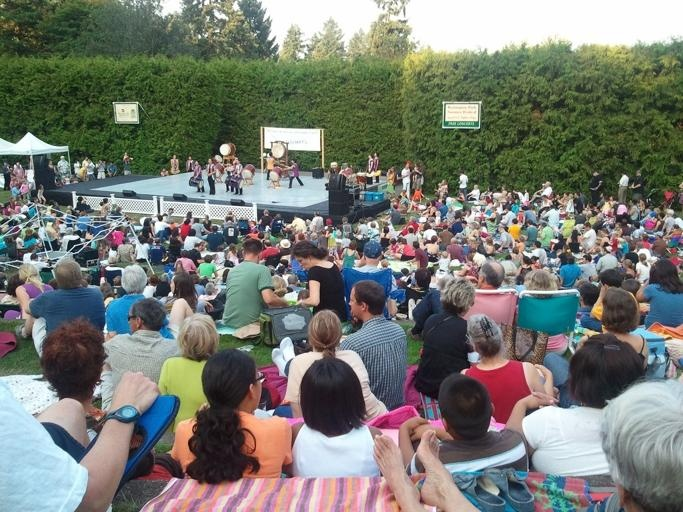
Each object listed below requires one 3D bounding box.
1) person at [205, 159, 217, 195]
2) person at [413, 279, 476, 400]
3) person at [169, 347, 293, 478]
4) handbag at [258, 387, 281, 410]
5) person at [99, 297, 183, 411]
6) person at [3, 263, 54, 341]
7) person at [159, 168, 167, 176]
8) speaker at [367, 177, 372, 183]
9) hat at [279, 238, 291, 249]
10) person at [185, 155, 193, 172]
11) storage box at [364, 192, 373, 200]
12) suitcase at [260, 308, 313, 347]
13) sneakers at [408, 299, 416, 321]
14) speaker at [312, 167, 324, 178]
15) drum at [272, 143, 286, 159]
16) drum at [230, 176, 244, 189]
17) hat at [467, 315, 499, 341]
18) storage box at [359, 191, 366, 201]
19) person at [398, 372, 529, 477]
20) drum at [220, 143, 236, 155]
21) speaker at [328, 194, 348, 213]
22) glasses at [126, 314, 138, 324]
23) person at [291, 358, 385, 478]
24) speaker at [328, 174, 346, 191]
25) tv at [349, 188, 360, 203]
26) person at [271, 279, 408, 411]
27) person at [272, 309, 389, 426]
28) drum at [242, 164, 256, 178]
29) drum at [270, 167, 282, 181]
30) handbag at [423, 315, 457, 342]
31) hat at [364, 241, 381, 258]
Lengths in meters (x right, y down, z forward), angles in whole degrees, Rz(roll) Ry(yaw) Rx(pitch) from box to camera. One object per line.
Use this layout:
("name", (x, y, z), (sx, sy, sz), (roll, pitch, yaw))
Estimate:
("person", (-5.785, -3.462, 27.221), (0.357, 1.409, 1.652), (-2, 9, -12))
("person", (1.228, 0.816, 6.783), (0.590, 1.478, 0.913), (13, 32, 19))
("person", (-0.782, 1.164, 4.663), (0.824, 1.095, 1.333), (-1, 18, -4))
("handbag", (-0.753, 1.450, 6.286), (0.171, 0.245, 0.245), (14, 0, -13))
("person", (-2.091, 0.904, 6.898), (0.877, 1.084, 1.362), (-2, 16, -13))
("person", (-4.649, 0.694, 9.062), (0.549, 1.399, 1.160), (-6, 22, -25))
("person", (-9.666, -4.541, 33.253), (0.394, 0.401, 1.174), (-2, 9, -16))
("speaker", (1.358, -3.614, 29.464), (0.285, 0.361, 0.304), (1, 5, 3))
("hat", (-1.536, -0.321, 16.168), (0.240, 0.258, 0.070), (-8, -11, -40))
("person", (-8.366, -5.070, 33.740), (0.394, 0.871, 0.978), (-3, 9, -18))
("storage box", (1.073, -2.427, 24.865), (0.307, 0.219, 0.329), (0, 8, 6))
("suitcase", (-0.717, 0.936, 8.498), (0.685, 0.533, 0.561), (-1, -1, -19))
("sneakers", (1.116, 0.820, 9.881), (0.105, 0.393, 0.148), (4, 9, 0))
("speaker", (-1.290, -4.610, 34.009), (0.536, 0.624, 0.535), (-3, 7, -34))
("drum", (-3.179, -5.339, 30.930), (0.635, 0.768, 0.800), (-4, 10, -27))
("drum", (-4.522, -3.141, 26.039), (0.395, 0.482, 0.303), (1, 9, 7))
("hat", (1.302, 0.635, 5.644), (0.173, 0.243, 0.238), (-9, 27, -10))
("storage box", (0.854, -2.400, 24.792), (0.282, 0.321, 0.302), (0, 6, 7))
("person", (0.848, 1.233, 4.227), (0.611, 0.577, 0.845), (-5, 26, -6))
("drum", (-6.338, -5.814, 33.887), (0.541, 0.699, 1.337), (0, 9, 1))
("speaker", (-0.119, -1.871, 22.106), (0.614, 1.006, 0.653), (-1, 4, -3))
("glasses", (-2.254, 0.677, 6.604), (0.115, 0.036, 0.114), (-1, 19, -45))
("person", (-0.047, 1.152, 4.404), (0.626, 0.769, 0.356), (0, 8, -3))
("speaker", (-0.155, -2.567, 21.554), (0.534, 0.570, 0.552), (0, -1, -15))
("tv", (0.507, -2.398, 23.851), (0.431, 0.548, 0.776), (2, 11, 10))
("person", (0.122, 0.758, 6.490), (0.827, 1.453, 1.352), (-18, 31, -31))
("person", (-0.208, 1.045, 6.157), (0.865, 1.083, 1.828), (-7, 3, -11))
("drum", (-4.428, -3.956, 29.263), (0.611, 0.507, 0.661), (-1, -33, -1))
("drum", (-3.212, -3.772, 28.663), (0.616, 0.686, 0.479), (2, 19, 24))
("handbag", (1.024, 0.742, 6.603), (0.302, 0.228, 0.132), (-41, -21, -3))
("hat", (0.495, -0.159, 9.810), (0.193, 0.163, 0.299), (3, 46, 3))
